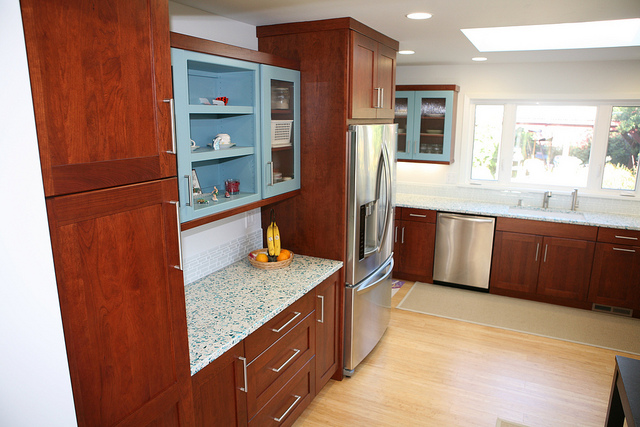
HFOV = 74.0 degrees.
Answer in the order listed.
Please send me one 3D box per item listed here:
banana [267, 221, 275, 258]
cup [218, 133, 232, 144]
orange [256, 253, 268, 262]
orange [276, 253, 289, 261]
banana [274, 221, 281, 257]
[{"bbox_3d":[-0.391,0.210,3.336,0.090,0.268,0.055,3,-4,-39],"label":"banana"},{"bbox_3d":[-0.661,-0.507,2.946,0.085,0.041,0.088,-2,11,0],"label":"cup"},{"bbox_3d":[-0.459,0.350,3.318,0.063,0.063,0.063,-2,17,13],"label":"orange"},{"bbox_3d":[-0.310,0.349,3.357,0.053,0.054,0.053,-5,31,11],"label":"orange"},{"bbox_3d":[-0.352,0.224,3.388,0.050,0.251,0.084,-1,-3,-23],"label":"banana"}]
